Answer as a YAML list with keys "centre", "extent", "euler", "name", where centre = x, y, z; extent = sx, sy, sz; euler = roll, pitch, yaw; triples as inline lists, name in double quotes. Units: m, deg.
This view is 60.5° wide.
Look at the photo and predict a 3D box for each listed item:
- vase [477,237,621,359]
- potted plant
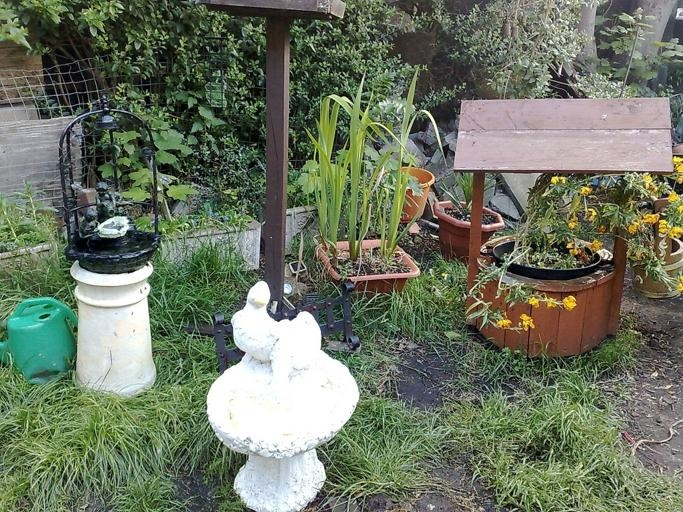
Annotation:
- centre: [1.562, 0.418, 4.182]
  extent: [0.766, 0.390, 0.960]
  euler: [0, 21, 2]
  name: "vase"
- centre: [0.462, -0.604, 5.166]
  extent: [1.546, 2.286, 1.441]
  euler: [-6, 28, -18]
  name: "potted plant"
